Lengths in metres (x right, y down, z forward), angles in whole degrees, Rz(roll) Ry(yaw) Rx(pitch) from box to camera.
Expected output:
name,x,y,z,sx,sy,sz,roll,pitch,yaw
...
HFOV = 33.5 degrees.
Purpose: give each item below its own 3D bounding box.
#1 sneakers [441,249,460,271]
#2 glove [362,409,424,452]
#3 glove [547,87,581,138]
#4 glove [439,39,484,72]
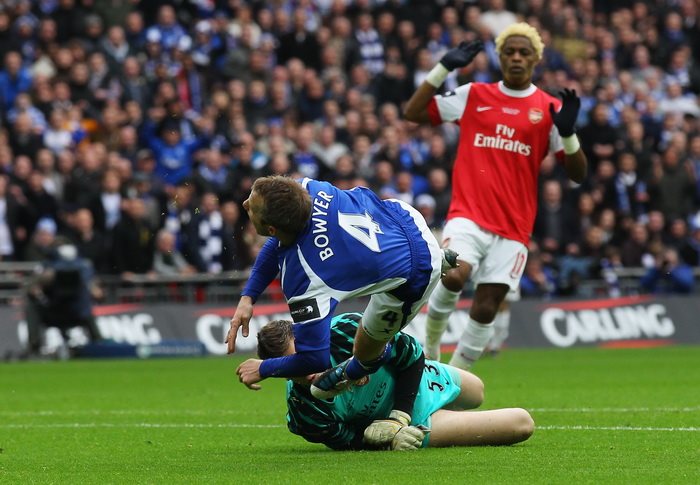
name,x,y,z,sx,sy,sz,roll,pitch,yaw
sneakers,1.045,0.197,12.277,0.218,0.214,0.164,4,2,4
glove,0.457,1.967,11.936,0.403,0.260,0.502,0,5,-21
glove,2.435,-1.453,13.168,0.290,0.550,0.235,0,4,3
glove,1.293,-2.198,13.731,0.490,0.381,0.480,0,4,0
